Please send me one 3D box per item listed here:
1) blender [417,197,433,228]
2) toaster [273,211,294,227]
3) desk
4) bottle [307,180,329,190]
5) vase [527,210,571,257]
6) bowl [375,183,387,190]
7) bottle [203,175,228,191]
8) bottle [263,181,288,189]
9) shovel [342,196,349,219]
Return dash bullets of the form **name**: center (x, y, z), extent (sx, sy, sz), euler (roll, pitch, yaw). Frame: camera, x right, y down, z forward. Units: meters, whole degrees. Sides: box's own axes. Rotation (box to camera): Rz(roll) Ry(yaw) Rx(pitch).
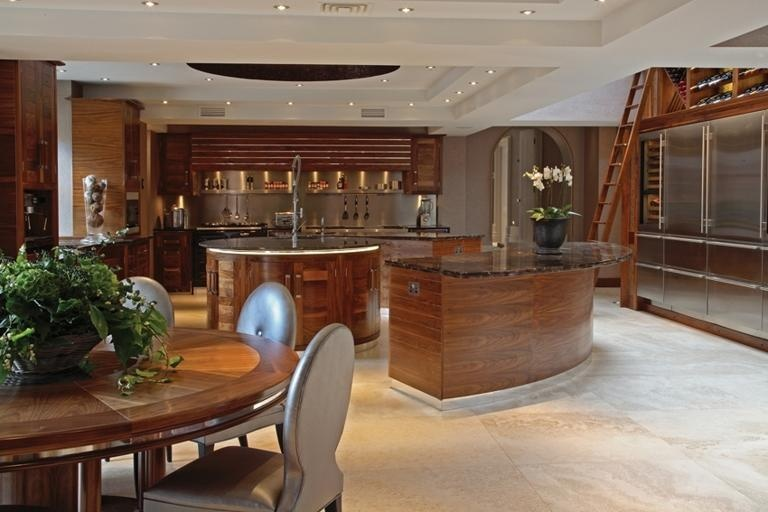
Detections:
- **blender**: center (0.816, -0.902, 10.396), extent (0.284, 0.579, 0.470), euler (3, 9, 16)
- **toaster**: center (-1.973, -0.726, 10.241), extent (0.619, 0.271, 0.386), euler (2, -2, -15)
- **desk**: center (1.010, 0.589, 4.577), extent (2.567, 0.938, 1.513), euler (-3, 5, -37)
- **bottle**: center (-1.317, -1.432, 10.317), extent (0.407, 0.214, 0.304), euler (-1, 8, -5)
- **vase**: center (1.838, -0.268, 5.725), extent (0.609, 0.454, 0.542), euler (0, 4, 10)
- **bowl**: center (-0.054, -1.423, 10.450), extent (0.324, 0.172, 0.145), euler (0, -3, 1)
- **bottle**: center (-3.366, -1.460, 10.209), extent (0.411, 0.206, 0.346), euler (-2, 4, -25)
- **bottle**: center (-2.151, -1.424, 10.326), extent (0.467, 0.167, 0.170), euler (-1, 9, -5)
- **shovel**: center (-0.763, -0.967, 10.402), extent (0.170, 0.408, 0.082), euler (-2, 6, -4)
